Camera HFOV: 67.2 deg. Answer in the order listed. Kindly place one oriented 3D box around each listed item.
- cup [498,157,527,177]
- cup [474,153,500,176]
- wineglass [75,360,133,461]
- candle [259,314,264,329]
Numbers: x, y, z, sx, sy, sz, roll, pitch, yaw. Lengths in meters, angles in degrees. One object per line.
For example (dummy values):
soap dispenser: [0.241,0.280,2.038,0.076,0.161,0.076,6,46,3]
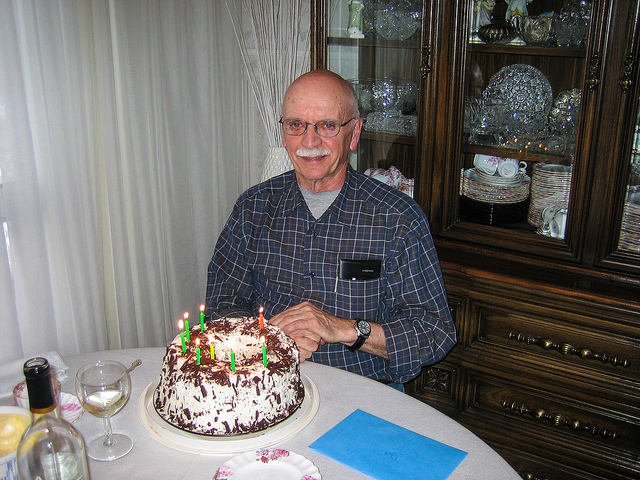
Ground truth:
cup: [0.790,-0.317,1.992,0.104,0.064,0.101,1,31,-1]
cup: [0.706,-0.327,2.039,0.068,0.102,0.076,14,5,16]
wineglass: [-0.538,0.430,1.209,0.107,0.208,0.116,5,15,17]
candle: [-0.175,0.238,1.433,0.012,0.039,0.035,-4,19,-8]
